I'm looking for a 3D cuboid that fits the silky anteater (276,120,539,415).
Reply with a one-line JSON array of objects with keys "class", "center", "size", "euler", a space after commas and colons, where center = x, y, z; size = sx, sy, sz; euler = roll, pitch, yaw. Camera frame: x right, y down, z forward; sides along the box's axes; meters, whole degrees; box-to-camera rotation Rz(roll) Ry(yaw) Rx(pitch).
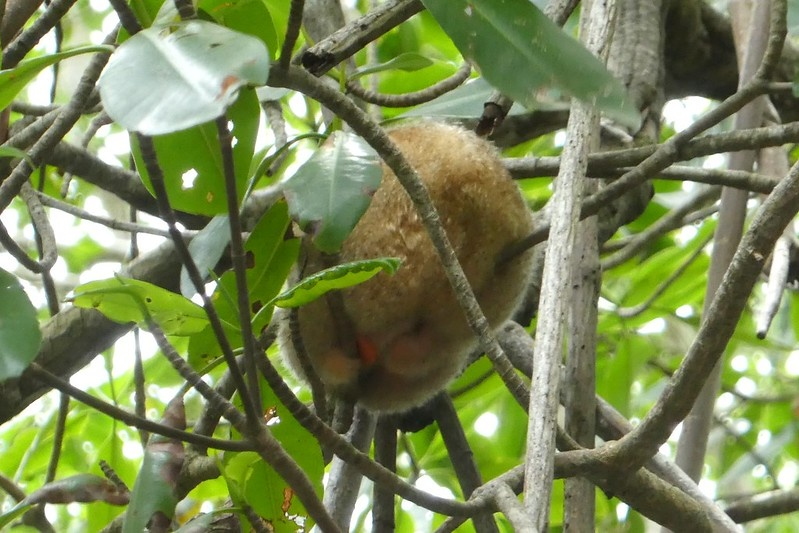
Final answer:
[{"class": "silky anteater", "center": [-0.033, -0.124, 1.806], "size": [0.332, 0.401, 0.228], "euler": [24, -55, 27]}]
